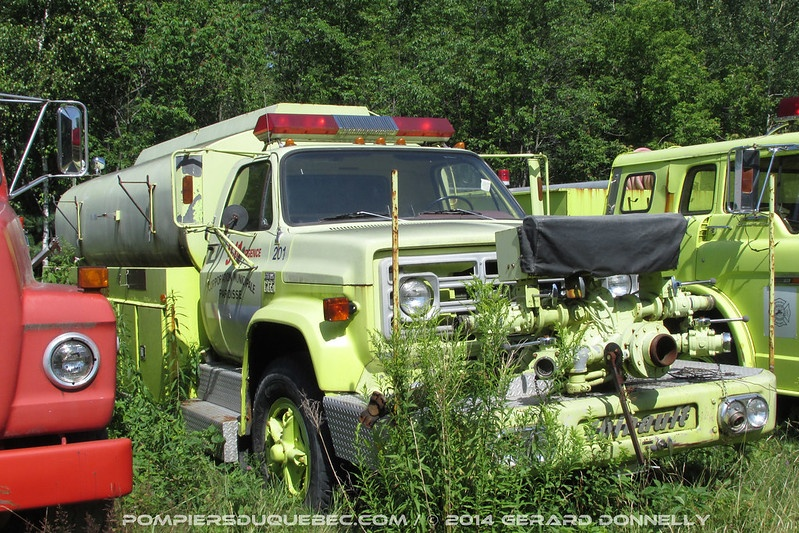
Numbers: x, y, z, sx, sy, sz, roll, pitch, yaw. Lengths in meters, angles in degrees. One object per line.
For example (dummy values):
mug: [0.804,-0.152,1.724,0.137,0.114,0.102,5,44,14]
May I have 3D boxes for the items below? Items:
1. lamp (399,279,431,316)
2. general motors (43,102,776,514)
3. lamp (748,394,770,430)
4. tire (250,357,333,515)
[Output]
lamp: [0.145,0.257,5.629,0.266,0.295,0.155,9,-1,-11]
general motors: [-1.184,0.122,8.513,3.565,3.066,8.545,0,0,-31]
lamp: [3.121,1.279,5.971,0.276,0.300,0.098,6,-11,-42]
tire: [-0.932,1.557,6.113,0.424,1.280,1.187,5,-1,-30]
